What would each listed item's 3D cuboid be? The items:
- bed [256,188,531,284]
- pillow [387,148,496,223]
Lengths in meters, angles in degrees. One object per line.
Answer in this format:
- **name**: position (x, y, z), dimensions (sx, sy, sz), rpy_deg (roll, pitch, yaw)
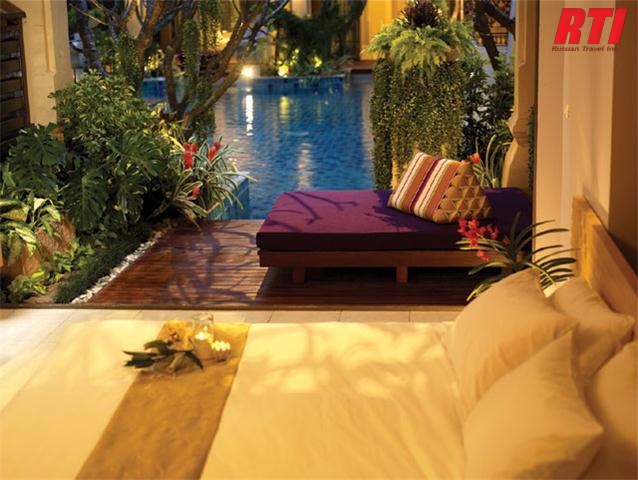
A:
- **bed**: position (0.404, -0.074, 4.099), dimensions (1.723, 0.411, 1.308), rpy_deg (0, 26, 3)
- **pillow**: position (1.182, -0.524, 4.403), dimensions (0.697, 0.566, 0.966), rpy_deg (-7, 17, -23)
